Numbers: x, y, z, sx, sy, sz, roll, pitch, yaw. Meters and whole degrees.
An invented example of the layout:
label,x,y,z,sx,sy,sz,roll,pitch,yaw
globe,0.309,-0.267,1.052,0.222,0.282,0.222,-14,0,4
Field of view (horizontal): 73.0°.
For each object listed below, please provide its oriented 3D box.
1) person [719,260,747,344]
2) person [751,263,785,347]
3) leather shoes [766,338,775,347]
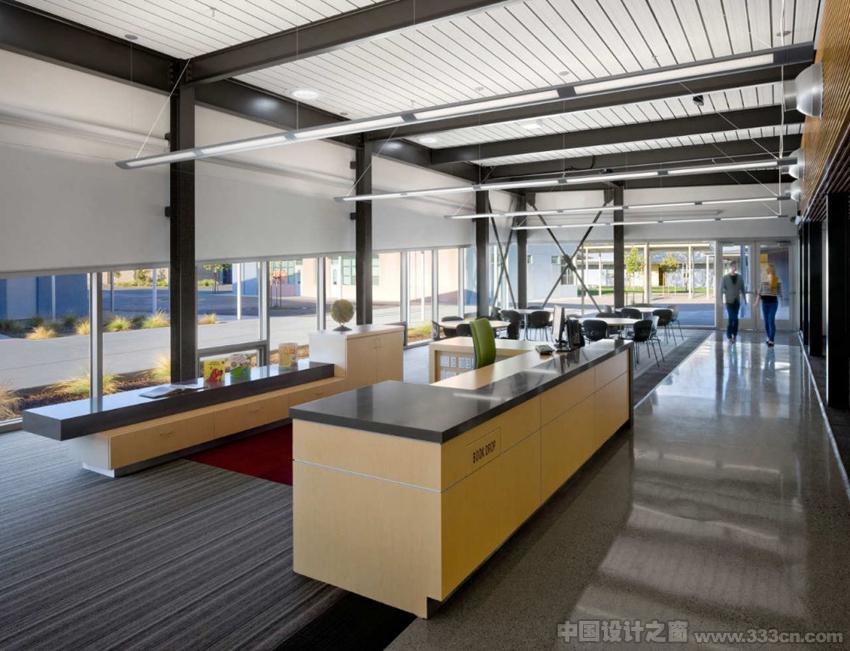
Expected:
label,x,y,z,sx,sy,sz,roll,pitch,yaw
person,6.879,-0.528,12.839,0.424,1.838,1.032,4,10,27
person,7.684,-0.476,12.800,0.384,1.811,1.443,5,11,31
leather shoes,7.645,0.362,12.673,0.147,0.214,0.211,-3,-1,30
